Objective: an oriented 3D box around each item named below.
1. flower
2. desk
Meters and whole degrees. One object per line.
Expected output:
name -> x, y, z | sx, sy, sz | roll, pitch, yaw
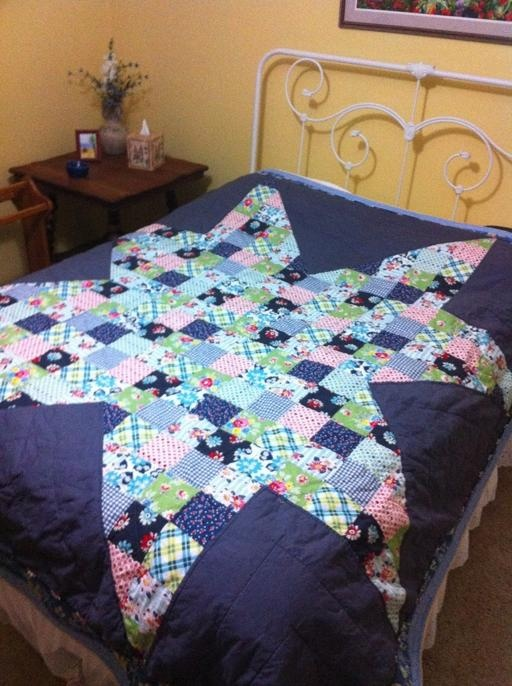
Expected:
flower -> -0.710, -1.251, 2.714 | 0.245, 0.235, 0.283 | 21, 36, 2
desk -> -0.649, -0.614, 2.764 | 0.645, 0.596, 0.649 | 27, 44, 29
